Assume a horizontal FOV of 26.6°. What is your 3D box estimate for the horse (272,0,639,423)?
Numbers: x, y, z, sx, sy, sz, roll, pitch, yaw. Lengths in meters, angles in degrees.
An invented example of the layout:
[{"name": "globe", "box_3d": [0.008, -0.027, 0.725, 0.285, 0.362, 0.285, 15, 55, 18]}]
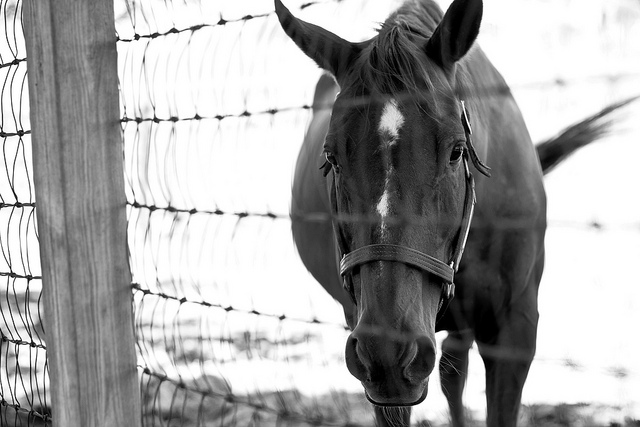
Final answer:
[{"name": "horse", "box_3d": [0.590, -0.105, 7.384, 1.029, 2.344, 1.525, -11, -31, 23]}]
